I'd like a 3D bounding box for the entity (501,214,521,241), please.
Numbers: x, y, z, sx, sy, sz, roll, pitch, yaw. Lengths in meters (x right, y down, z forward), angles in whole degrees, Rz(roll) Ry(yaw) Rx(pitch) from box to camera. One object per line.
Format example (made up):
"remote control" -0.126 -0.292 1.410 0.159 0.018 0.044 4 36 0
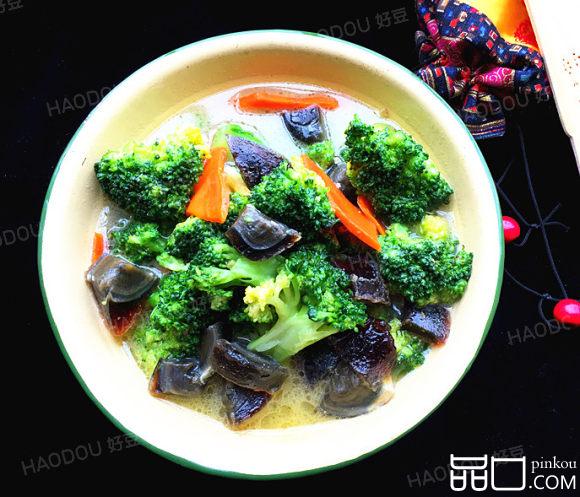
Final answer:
"entity" 0.949 -0.094 2.489 0.077 0.086 0.113 -16 87 13
